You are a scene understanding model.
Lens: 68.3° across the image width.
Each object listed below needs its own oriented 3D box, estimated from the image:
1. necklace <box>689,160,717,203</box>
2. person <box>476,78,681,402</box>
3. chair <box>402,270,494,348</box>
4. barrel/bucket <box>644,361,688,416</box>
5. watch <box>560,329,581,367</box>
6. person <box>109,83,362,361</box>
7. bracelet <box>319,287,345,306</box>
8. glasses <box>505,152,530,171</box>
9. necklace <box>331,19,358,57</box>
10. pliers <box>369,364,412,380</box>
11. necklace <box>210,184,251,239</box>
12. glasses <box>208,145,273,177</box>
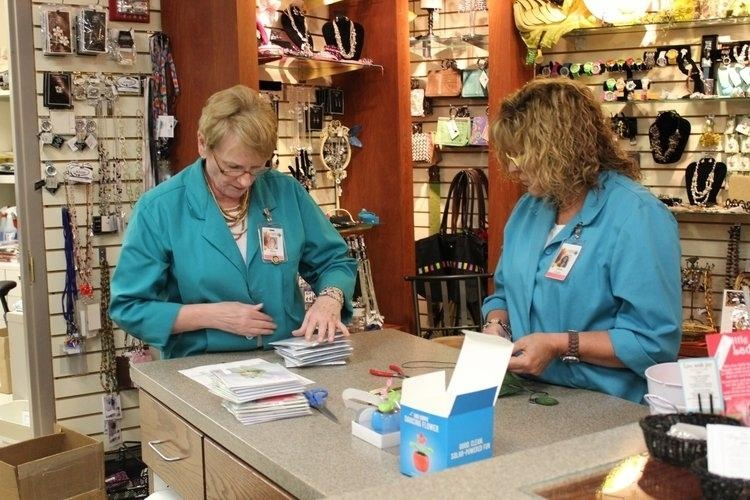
[{"bbox_3d":[2.453,-0.518,4.169,0.084,0.306,0.189,2,12,-44],"label":"necklace"},{"bbox_3d":[0.829,-0.117,2.197,0.681,1.165,0.627,-4,7,12],"label":"person"},{"bbox_3d":[0.601,0.453,4.541,0.675,0.962,0.638,0,14,10],"label":"chair"},{"bbox_3d":[0.825,0.416,1.591,0.094,0.125,0.289,-2,7,26],"label":"barrel/bucket"},{"bbox_3d":[0.729,0.372,2.054,0.087,0.111,0.101,-1,-3,4],"label":"watch"},{"bbox_3d":[-0.663,-0.129,2.551,1.031,1.172,0.576,-5,7,3],"label":"person"},{"bbox_3d":[-0.193,0.211,2.565,0.078,0.033,0.088,11,5,-34],"label":"bracelet"},{"bbox_3d":[0.575,-0.363,2.262,0.063,0.071,0.076,-5,4,-40],"label":"glasses"},{"bbox_3d":[-0.254,-1.670,4.397,0.214,0.327,0.091,-12,10,-33],"label":"necklace"},{"bbox_3d":[0.050,0.475,2.187,0.146,0.040,0.154,-5,6,-5],"label":"pliers"},{"bbox_3d":[-0.630,-0.156,2.519,0.186,0.232,0.099,-18,-8,10],"label":"necklace"},{"bbox_3d":[-0.600,-0.367,2.342,0.147,0.091,0.185,-3,10,-31],"label":"glasses"}]
